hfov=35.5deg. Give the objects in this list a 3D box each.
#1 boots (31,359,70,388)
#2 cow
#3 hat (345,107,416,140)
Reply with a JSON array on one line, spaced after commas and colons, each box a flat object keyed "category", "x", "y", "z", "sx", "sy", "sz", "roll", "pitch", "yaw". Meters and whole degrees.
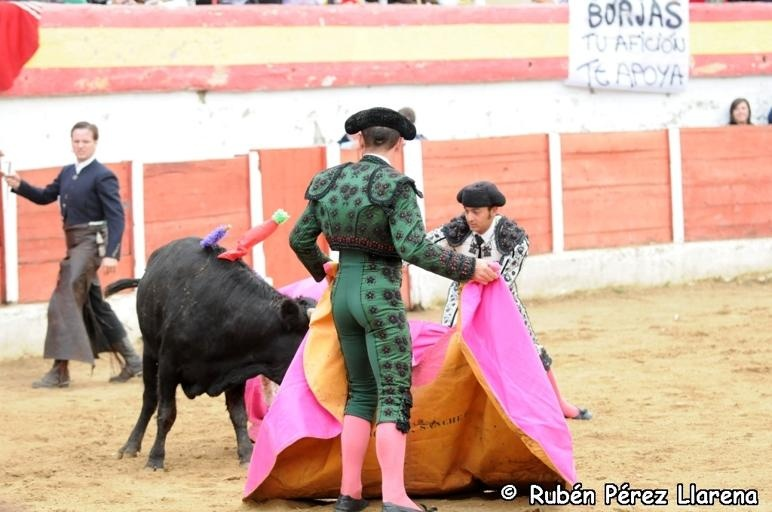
[{"category": "boots", "x": -2.961, "y": 1.078, "z": 10.788, "sx": 0.354, "sy": 0.321, "sz": 0.164, "roll": 4, "pitch": -1, "yaw": -7}, {"category": "cow", "x": -1.326, "y": 0.730, "z": 9.031, "sx": 1.459, "sy": 1.751, "sz": 0.348, "roll": -1, "pitch": -1, "yaw": 14}, {"category": "hat", "x": -0.031, "y": -0.970, "z": 8.371, "sx": 0.540, "sy": 0.160, "sz": 0.531, "roll": 0, "pitch": -2, "yaw": -7}]
